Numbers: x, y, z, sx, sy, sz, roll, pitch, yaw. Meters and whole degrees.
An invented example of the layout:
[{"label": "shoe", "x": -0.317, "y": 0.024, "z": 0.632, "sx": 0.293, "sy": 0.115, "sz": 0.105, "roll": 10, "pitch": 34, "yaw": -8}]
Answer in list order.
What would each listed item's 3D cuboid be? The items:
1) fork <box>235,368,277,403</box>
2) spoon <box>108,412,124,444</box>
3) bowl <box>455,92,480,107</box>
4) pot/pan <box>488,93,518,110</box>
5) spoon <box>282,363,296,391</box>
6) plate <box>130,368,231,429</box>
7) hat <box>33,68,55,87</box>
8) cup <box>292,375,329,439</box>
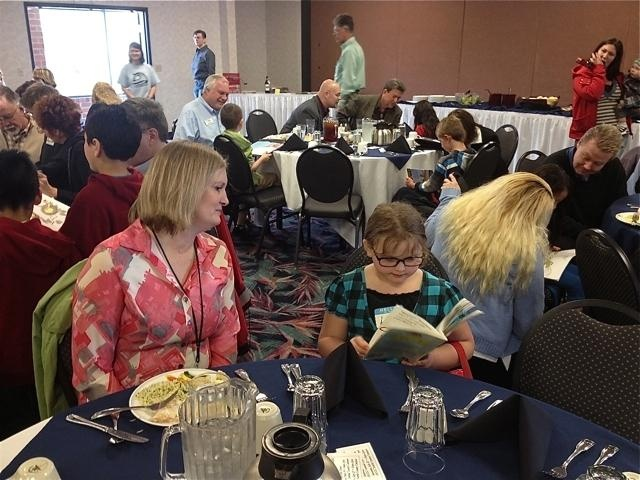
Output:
[{"label": "fork", "x": -0.197, "y": 0.399, "z": 1.338, "sx": 0.057, "sy": 0.023, "sz": 0.202, "roll": -4, "pitch": 23, "yaw": -29}, {"label": "spoon", "x": -0.535, "y": 0.491, "z": 1.195, "sx": 0.022, "sy": 0.020, "sz": 0.133, "roll": 1, "pitch": 22, "yaw": -18}, {"label": "bowl", "x": 2.241, "y": -2.101, "z": 6.962, "sx": 0.323, "sy": 0.200, "sz": 0.347, "roll": 0, "pitch": 14, "yaw": 0}, {"label": "pot/pan", "x": 2.626, "y": -1.970, "z": 6.532, "sx": 0.400, "sy": 0.301, "sz": 0.224, "roll": -4, "pitch": 6, "yaw": -38}, {"label": "spoon", "x": -0.094, "y": 0.413, "z": 1.386, "sx": 0.025, "sy": 0.016, "sz": 0.076, "roll": -10, "pitch": 30, "yaw": -2}, {"label": "plate", "x": -0.398, "y": 0.427, "z": 1.273, "sx": 0.203, "sy": 0.039, "sz": 0.215, "roll": -4, "pitch": 23, "yaw": 11}, {"label": "hat", "x": -3.277, "y": -1.929, "z": 5.444, "sx": 0.208, "sy": 0.221, "sz": 0.860, "roll": -12, "pitch": 22, "yaw": -28}, {"label": "cup", "x": -0.016, "y": 0.428, "z": 1.176, "sx": 0.081, "sy": 0.158, "sz": 0.149, "roll": -1, "pitch": 13, "yaw": 1}]
